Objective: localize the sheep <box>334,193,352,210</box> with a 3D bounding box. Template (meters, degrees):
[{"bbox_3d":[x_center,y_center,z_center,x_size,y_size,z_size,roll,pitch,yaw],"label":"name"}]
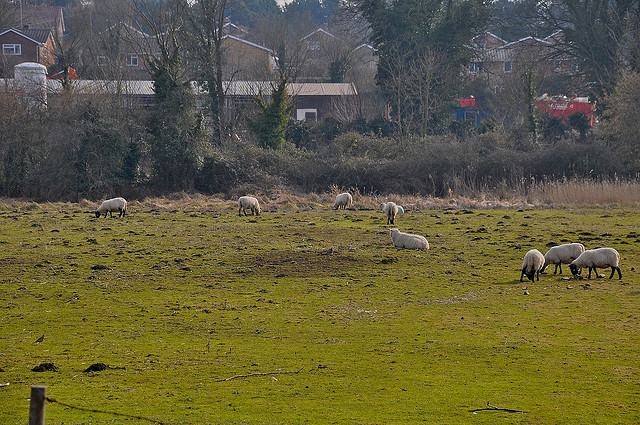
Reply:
[{"bbox_3d":[2.169,-1.007,138.793,1.543,1.560,1.637,0,1,-3],"label":"sheep"}]

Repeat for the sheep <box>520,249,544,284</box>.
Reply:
[{"bbox_3d":[17.235,4.458,118.610,1.891,2.626,1.083,0,1,-5],"label":"sheep"}]
